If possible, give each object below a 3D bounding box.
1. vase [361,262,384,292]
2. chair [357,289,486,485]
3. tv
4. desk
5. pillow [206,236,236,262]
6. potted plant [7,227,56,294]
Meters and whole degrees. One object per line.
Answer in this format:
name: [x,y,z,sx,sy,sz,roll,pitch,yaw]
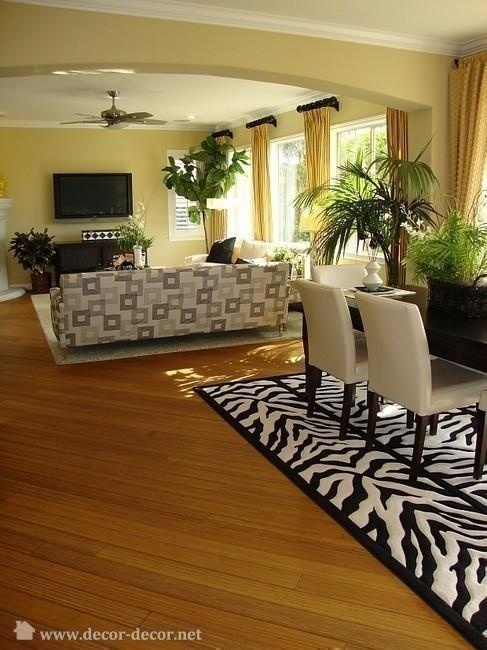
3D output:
vase: [0.869,-0.329,3.089,0.178,0.223,0.181,1,3,33]
chair: [0.888,0.269,2.185,0.621,0.867,0.494,-3,5,-19]
tv: [-3.153,-2.593,9.084,1.453,0.892,0.147,-4,11,-25]
desk: [0.831,0.053,2.797,0.876,1.139,0.774,-10,18,-20]
pillow: [-0.394,-1.345,7.888,0.463,0.471,0.186,7,-11,33]
potted plant: [-4.060,-1.241,8.591,0.755,1.276,0.814,-5,6,-33]
